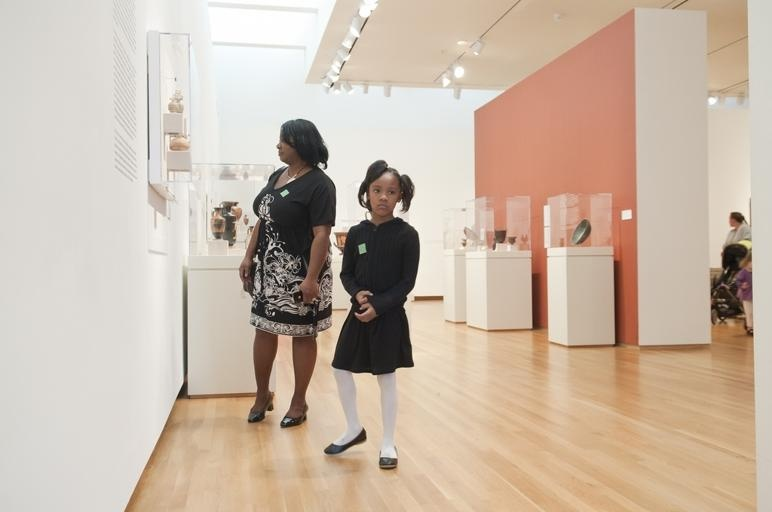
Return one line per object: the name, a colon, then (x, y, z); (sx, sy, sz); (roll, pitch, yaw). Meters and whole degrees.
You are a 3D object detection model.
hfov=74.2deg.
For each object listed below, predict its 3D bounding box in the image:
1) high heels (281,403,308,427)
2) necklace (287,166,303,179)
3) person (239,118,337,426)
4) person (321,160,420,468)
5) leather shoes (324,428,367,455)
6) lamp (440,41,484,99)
high heels: (-0.659, 1.180, 3.672); (0.077, 0.095, 0.216); (-5, -15, 18)
necklace: (-0.643, -0.578, 3.605); (0.071, 0.105, 0.040); (2, -6, 10)
person: (-0.705, 0.114, 3.710); (0.766, 2.193, 0.376); (0, 0, 37)
person: (-0.075, 0.319, 3.063); (0.538, 1.783, 0.362); (0, 0, 26)
leather shoes: (-0.252, 1.159, 3.181); (0.285, 0.113, 0.107); (-19, 2, -17)
lamp: (1.546, -3.998, 10.859); (0.252, 0.367, 1.302); (7, -22, -6)
